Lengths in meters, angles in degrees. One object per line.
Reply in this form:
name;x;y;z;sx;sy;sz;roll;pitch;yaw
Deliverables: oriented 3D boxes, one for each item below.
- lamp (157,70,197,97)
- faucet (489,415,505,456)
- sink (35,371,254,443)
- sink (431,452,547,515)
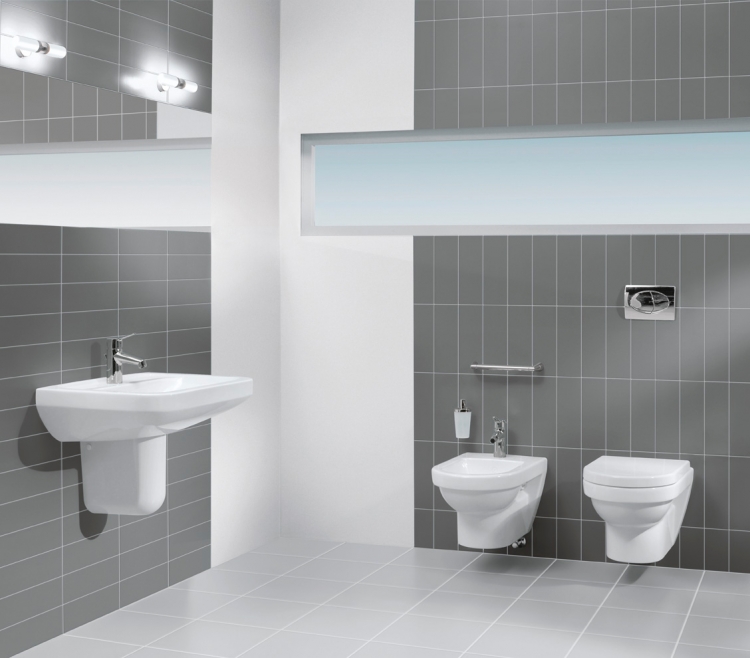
lamp;-0.903;-1.119;3.065;0.062;0.078;0.269;1;6;25
faucet;0.669;0.591;3.570;0.079;0.180;0.146;0;5;10
sink;-0.862;0.318;2.603;0.588;0.258;0.639;1;6;23
sink;0.575;0.772;3.310;0.465;0.250;0.678;1;6;23
